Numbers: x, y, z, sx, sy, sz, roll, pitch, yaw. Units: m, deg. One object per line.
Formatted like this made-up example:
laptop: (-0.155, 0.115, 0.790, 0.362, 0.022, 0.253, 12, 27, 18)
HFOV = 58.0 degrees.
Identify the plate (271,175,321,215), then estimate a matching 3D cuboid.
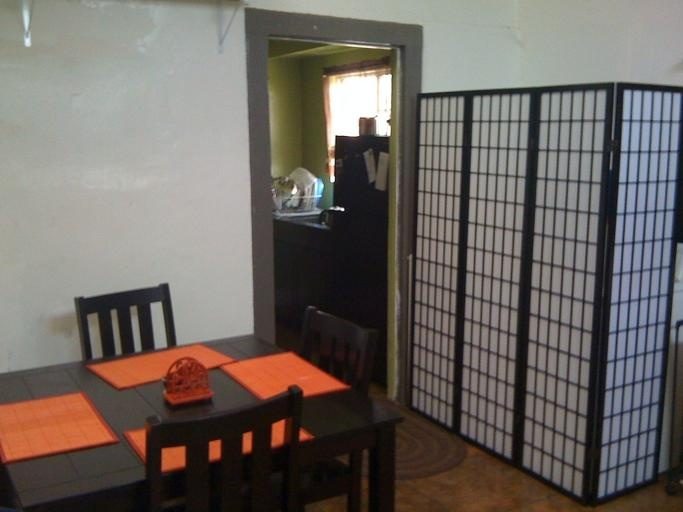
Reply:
plate: (-0.397, -0.556, 5.639, 0.520, 0.304, 0.424, -4, 14, -14)

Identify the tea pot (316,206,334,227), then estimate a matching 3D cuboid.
tea pot: (-0.111, -0.309, 4.962, 0.173, 0.181, 0.103, -7, 15, -32)
